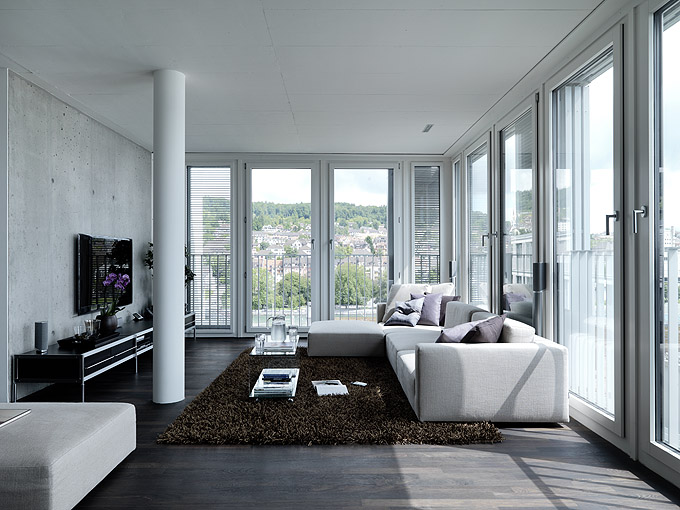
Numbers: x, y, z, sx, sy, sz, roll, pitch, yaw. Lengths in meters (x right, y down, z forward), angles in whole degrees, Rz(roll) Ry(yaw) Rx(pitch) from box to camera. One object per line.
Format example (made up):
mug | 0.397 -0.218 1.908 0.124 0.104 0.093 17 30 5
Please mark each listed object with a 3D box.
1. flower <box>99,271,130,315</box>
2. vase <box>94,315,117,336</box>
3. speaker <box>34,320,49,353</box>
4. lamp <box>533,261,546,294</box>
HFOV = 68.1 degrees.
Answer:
flower | -2.684 0.464 5.975 0.321 0.501 0.257 5 5 -3
vase | -2.594 0.769 5.564 0.195 0.166 0.188 1 3 34
speaker | -2.924 0.804 4.909 0.112 0.258 0.105 0 0 -8
lamp | 1.949 0.215 4.955 0.088 0.300 0.161 -5 12 -26
